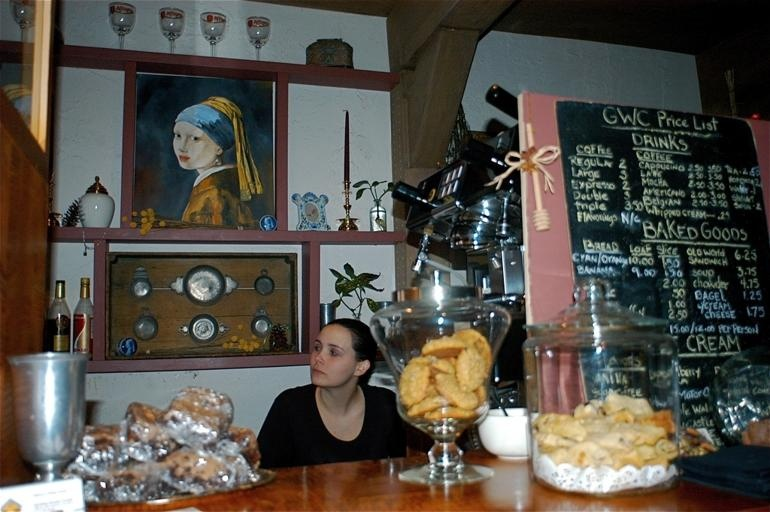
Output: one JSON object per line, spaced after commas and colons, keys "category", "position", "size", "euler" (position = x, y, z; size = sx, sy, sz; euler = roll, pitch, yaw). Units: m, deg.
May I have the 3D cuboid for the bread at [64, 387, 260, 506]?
{"category": "bread", "position": [-0.634, 0.511, 1.916], "size": [0.430, 0.149, 0.296], "euler": [-1, 17, -17]}

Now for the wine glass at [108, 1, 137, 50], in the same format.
{"category": "wine glass", "position": [-1.428, -1.246, 3.685], "size": [0.144, 0.245, 0.181], "euler": [-5, 9, -20]}

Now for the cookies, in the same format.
{"category": "cookies", "position": [0.172, 0.359, 2.006], "size": [0.270, 0.228, 0.081], "euler": [-25, 0, 1]}

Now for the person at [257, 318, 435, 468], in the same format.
{"category": "person", "position": [-0.174, 0.593, 2.891], "size": [0.734, 0.906, 0.364], "euler": [0, -26, -1]}

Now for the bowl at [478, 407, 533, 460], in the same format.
{"category": "bowl", "position": [0.403, 0.589, 2.271], "size": [0.171, 0.115, 0.155], "euler": [1, -5, -1]}

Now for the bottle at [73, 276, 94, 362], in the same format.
{"category": "bottle", "position": [-1.534, 0.293, 3.435], "size": [0.113, 0.365, 0.309], "euler": [-4, 8, -18]}
